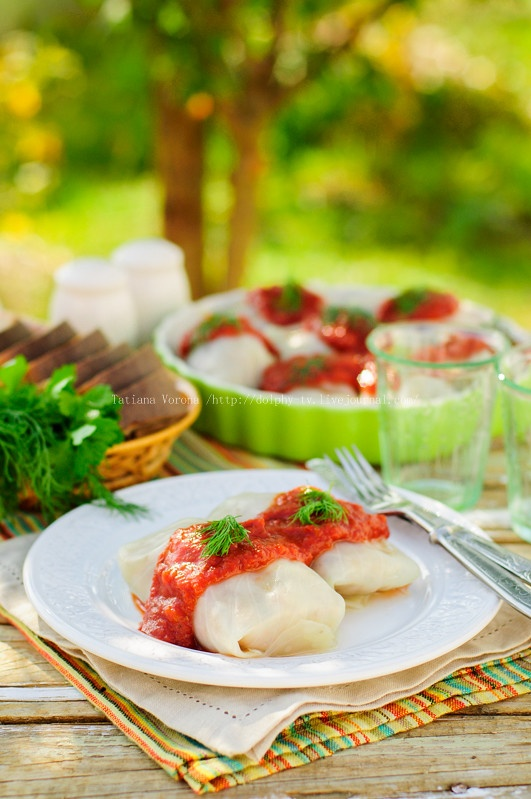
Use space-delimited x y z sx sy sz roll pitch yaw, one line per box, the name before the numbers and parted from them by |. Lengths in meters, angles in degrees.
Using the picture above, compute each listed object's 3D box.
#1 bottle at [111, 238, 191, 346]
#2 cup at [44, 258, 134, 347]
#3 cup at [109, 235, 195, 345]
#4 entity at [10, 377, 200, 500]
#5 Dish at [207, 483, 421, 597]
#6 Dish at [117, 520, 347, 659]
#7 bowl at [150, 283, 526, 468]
bottle | -0.192 -0.238 1.512 0.195 0.263 0.188 0 26 0
cup | -0.301 -0.165 1.287 0.139 0.131 0.141 4 22 -2
cup | -0.196 -0.245 1.572 0.198 0.267 0.191 0 27 0
entity | -0.175 0.037 1.028 0.177 0.058 0.160 -13 22 -30
Dish | 0.079 0.118 0.742 0.136 0.037 0.128 -5 17 -34
Dish | -0.030 0.178 0.728 0.191 0.059 0.185 -2 18 -42
bowl | 0.059 0.010 1.230 0.457 0.107 0.422 2 23 -1
